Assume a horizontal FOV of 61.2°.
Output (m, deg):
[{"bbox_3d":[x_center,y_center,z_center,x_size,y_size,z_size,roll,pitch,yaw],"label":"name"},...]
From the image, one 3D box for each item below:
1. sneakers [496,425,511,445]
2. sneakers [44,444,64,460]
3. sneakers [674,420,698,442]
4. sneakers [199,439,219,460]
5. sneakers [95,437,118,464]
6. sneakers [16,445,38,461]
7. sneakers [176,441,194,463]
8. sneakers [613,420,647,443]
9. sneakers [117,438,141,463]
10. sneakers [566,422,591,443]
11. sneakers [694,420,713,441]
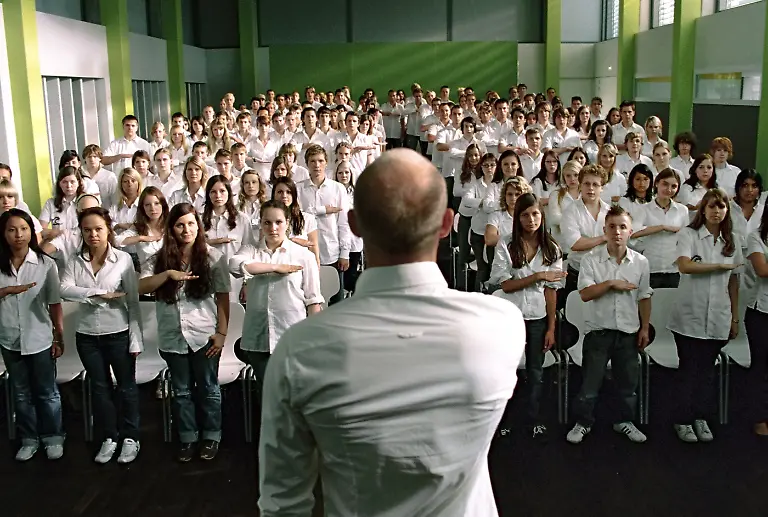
[{"bbox_3d":[1.102,1.612,5.963,0.094,0.048,0.137,-17,32,32],"label":"sneakers"},{"bbox_3d":[-2.952,1.712,5.830,0.149,0.119,0.134,-8,11,-29],"label":"sneakers"},{"bbox_3d":[2.777,1.591,5.962,0.180,0.087,0.219,-1,10,10],"label":"sneakers"},{"bbox_3d":[-1.569,1.700,5.792,0.088,0.108,0.252,1,5,-4],"label":"sneakers"},{"bbox_3d":[-2.489,1.704,5.812,0.091,0.116,0.274,-4,16,-3],"label":"sneakers"},{"bbox_3d":[-3.196,1.726,5.812,0.185,0.105,0.135,-9,12,-31],"label":"sneakers"},{"bbox_3d":[-1.775,1.718,5.784,0.078,0.105,0.251,1,1,-3],"label":"sneakers"},{"bbox_3d":[2.256,1.582,5.958,0.133,0.114,0.260,-39,40,-11],"label":"sneakers"},{"bbox_3d":[-2.278,1.702,5.780,0.095,0.111,0.264,0,12,-5],"label":"sneakers"},{"bbox_3d":[1.772,1.592,5.927,0.106,0.130,0.291,3,9,36],"label":"sneakers"},{"bbox_3d":[2.944,1.572,5.974,0.081,0.093,0.239,-3,12,14],"label":"sneakers"}]
